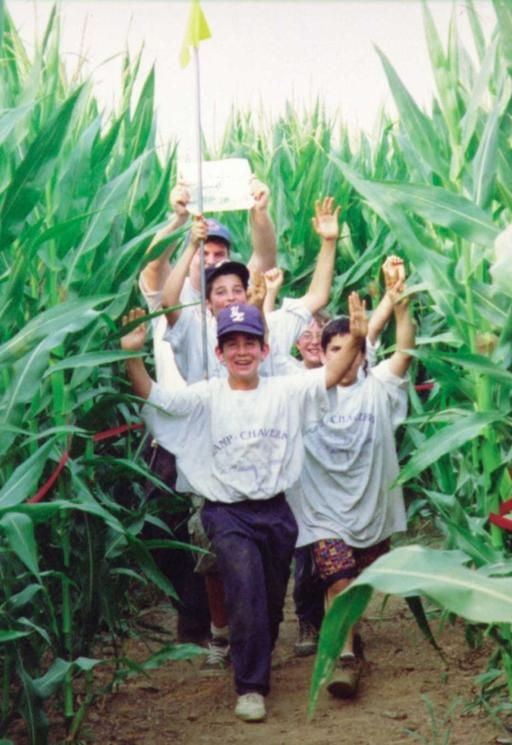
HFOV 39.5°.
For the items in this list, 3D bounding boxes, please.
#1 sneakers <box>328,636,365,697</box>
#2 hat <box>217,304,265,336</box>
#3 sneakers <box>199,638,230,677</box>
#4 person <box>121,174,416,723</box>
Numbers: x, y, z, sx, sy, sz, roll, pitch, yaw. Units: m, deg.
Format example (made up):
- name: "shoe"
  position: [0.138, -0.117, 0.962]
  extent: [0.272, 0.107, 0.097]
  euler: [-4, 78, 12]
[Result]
- name: "sneakers"
  position: [0.353, 1.100, 2.615]
  extent: [0.104, 0.176, 0.386]
  euler: [-3, -25, 8]
- name: "hat"
  position: [-0.060, -0.180, 2.524]
  extent: [0.163, 0.119, 0.131]
  euler: [-3, -4, -5]
- name: "sneakers"
  position: [-0.152, 1.118, 2.822]
  extent: [0.112, 0.164, 0.362]
  euler: [-1, -17, 4]
- name: "person"
  position: [-0.009, 0.456, 2.505]
  extent: [0.797, 1.405, 0.535]
  euler: [-3, -3, -3]
